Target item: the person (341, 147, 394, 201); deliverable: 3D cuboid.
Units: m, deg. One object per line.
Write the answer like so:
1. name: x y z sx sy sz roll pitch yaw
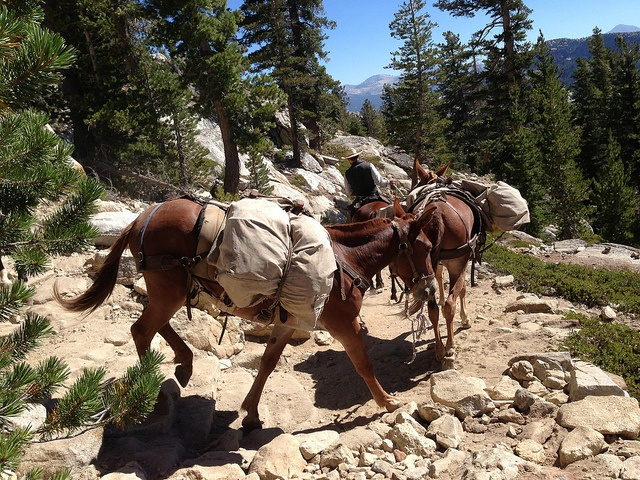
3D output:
1. person: 1.039 -1.520 13.233 0.567 1.216 1.314 -9 14 -34

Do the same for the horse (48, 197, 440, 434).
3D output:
1. horse: -0.792 1.092 8.454 5.274 3.453 1.146 -3 12 -9
